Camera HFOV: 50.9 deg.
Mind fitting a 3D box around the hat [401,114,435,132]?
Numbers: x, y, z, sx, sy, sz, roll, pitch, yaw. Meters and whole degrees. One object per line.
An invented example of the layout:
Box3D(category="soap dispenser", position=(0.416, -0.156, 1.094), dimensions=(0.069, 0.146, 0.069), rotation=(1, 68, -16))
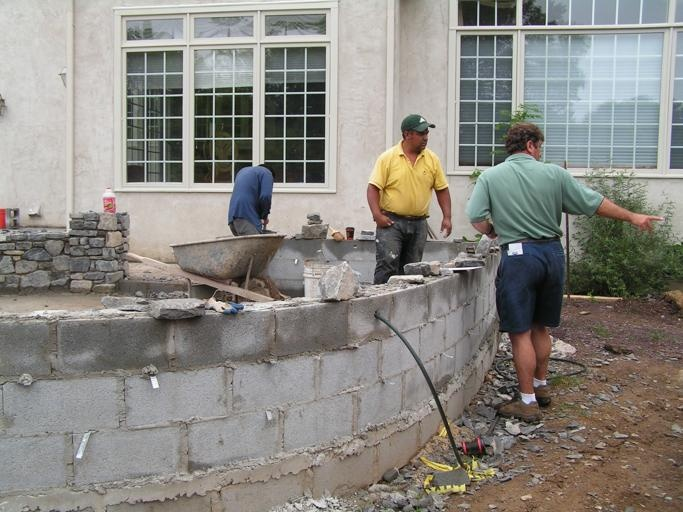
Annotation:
Box3D(category="hat", position=(0.683, -1.248, 6.898), dimensions=(0.351, 0.193, 0.257), rotation=(3, 13, 17))

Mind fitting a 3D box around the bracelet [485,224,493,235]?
Box3D(category="bracelet", position=(1.279, -0.232, 6.343), dimensions=(0.068, 0.080, 0.025), rotation=(-5, 4, -33))

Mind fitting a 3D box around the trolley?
Box3D(category="trolley", position=(-1.674, 0.092, 8.558), dimensions=(2.218, 0.812, 0.734), rotation=(7, 5, 36))

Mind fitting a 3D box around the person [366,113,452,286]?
Box3D(category="person", position=(0.612, -0.552, 7.039), dimensions=(0.951, 1.626, 0.388), rotation=(-10, 17, -36))

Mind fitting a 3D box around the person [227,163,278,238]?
Box3D(category="person", position=(-1.114, -0.669, 8.909), dimensions=(0.553, 0.863, 0.463), rotation=(-9, 16, -34))

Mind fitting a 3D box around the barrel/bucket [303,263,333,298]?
Box3D(category="barrel/bucket", position=(-0.293, 0.265, 7.922), dimensions=(0.360, 0.390, 0.362), rotation=(1, 0, 0))

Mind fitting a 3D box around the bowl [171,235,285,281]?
Box3D(category="bowl", position=(-1.313, 0.065, 8.339), dimensions=(0.871, 0.424, 1.220), rotation=(0, -3, -40))

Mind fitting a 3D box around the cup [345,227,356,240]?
Box3D(category="cup", position=(0.095, -0.311, 9.939), dimensions=(0.167, 0.204, 0.161), rotation=(0, -1, 0))

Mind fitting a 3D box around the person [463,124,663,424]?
Box3D(category="person", position=(1.660, 0.132, 6.305), dimensions=(0.996, 2.510, 0.826), rotation=(-8, 16, -30))

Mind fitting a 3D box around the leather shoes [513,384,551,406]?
Box3D(category="leather shoes", position=(1.692, 1.249, 6.586), dimensions=(0.150, 0.176, 0.381), rotation=(-4, 2, -32))

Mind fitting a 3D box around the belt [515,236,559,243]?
Box3D(category="belt", position=(1.672, -0.140, 6.160), dimensions=(0.403, 0.051, 0.078), rotation=(-3, 14, -13))

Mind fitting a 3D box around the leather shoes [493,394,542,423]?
Box3D(category="leather shoes", position=(1.544, 1.356, 6.382), dimensions=(0.388, 0.198, 0.166), rotation=(6, 5, 35))
